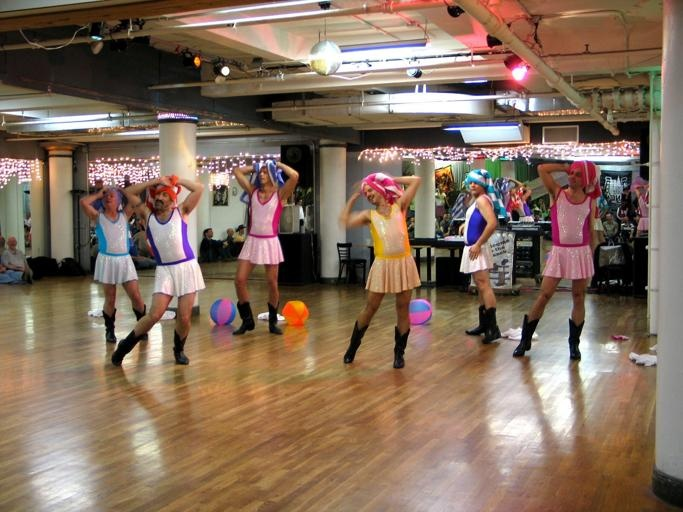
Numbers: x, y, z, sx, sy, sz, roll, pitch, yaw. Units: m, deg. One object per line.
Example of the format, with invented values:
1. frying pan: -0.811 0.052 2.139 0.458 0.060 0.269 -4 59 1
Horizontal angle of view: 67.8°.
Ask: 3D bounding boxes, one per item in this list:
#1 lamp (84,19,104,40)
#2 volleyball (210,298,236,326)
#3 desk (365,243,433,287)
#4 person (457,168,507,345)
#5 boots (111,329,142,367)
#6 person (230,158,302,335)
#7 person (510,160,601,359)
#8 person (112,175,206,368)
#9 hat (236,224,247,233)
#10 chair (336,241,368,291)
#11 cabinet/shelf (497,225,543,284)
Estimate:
1. lamp: -2.605 -2.403 5.368 0.145 0.242 0.287 -5 6 -26
2. volleyball: -1.783 0.798 7.744 0.375 0.433 0.370 -1 23 -33
3. desk: 0.534 0.164 5.140 0.518 0.375 0.359 -3 6 -4
4. person: 1.838 0.001 6.572 0.539 2.216 0.792 -1 6 17
5. boots: -2.380 1.048 5.633 0.137 0.395 0.168 39 8 -23
6. person: -1.056 -0.088 6.883 0.876 2.375 0.963 -6 6 -31
7. person: 2.383 0.072 5.523 0.758 2.148 0.551 0 6 27
8. person: -1.869 0.179 5.311 0.947 2.019 0.690 -5 6 -24
9. hat: -3.155 -0.852 16.033 0.123 0.257 0.249 20 8 -39
10. chair: 0.353 0.197 12.636 0.673 0.967 0.690 5 3 20
11. cabinet/shelf: 4.772 -0.042 12.656 1.337 1.405 1.397 -2 0 26
